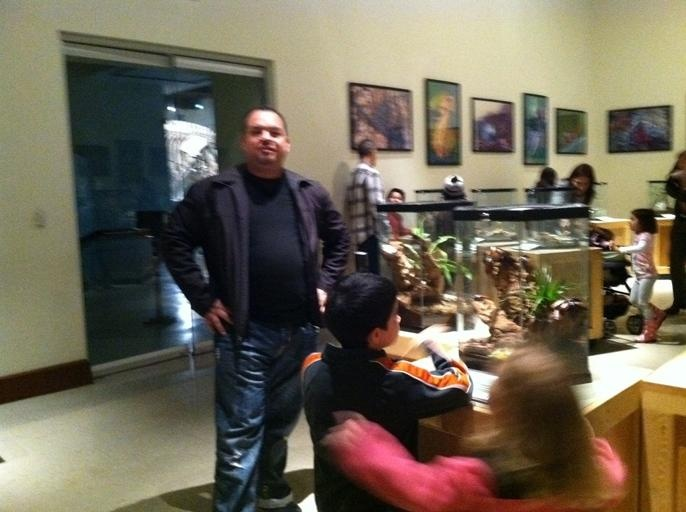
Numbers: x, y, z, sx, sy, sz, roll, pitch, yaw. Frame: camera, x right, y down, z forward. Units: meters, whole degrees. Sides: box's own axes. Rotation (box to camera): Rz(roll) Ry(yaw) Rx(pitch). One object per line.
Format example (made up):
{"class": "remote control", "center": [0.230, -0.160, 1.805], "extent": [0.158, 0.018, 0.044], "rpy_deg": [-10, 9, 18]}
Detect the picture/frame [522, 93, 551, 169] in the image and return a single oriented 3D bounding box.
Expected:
{"class": "picture/frame", "center": [1.081, -0.706, 2.957], "extent": [0.033, 0.402, 0.386], "rpy_deg": [-1, 0, 36]}

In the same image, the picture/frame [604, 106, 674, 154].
{"class": "picture/frame", "center": [1.228, -0.527, 2.189], "extent": [0.224, 0.165, 0.030], "rpy_deg": [1, 4, 36]}

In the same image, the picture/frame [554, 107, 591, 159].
{"class": "picture/frame", "center": [1.013, -0.552, 2.371], "extent": [0.241, 0.208, 0.023], "rpy_deg": [-7, 7, -31]}

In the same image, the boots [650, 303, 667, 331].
{"class": "boots", "center": [2.324, 0.446, 3.908], "extent": [0.091, 0.108, 0.252], "rpy_deg": [-13, 36, 42]}

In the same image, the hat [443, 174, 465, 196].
{"class": "hat", "center": [0.650, -0.425, 3.167], "extent": [0.147, 0.119, 0.137], "rpy_deg": [-3, 10, -8]}
